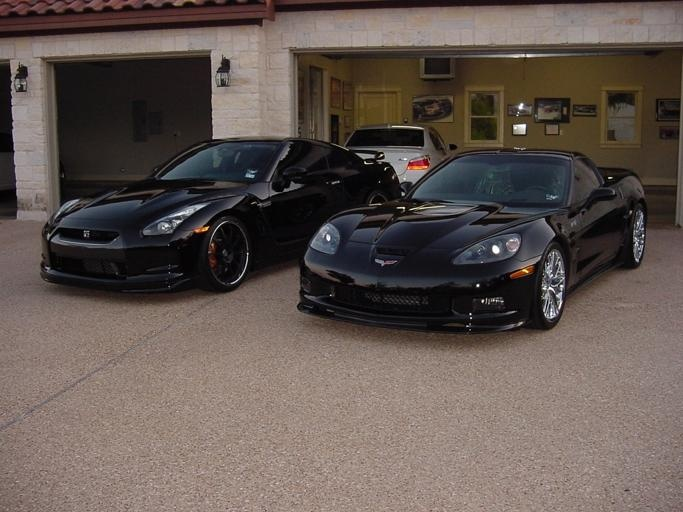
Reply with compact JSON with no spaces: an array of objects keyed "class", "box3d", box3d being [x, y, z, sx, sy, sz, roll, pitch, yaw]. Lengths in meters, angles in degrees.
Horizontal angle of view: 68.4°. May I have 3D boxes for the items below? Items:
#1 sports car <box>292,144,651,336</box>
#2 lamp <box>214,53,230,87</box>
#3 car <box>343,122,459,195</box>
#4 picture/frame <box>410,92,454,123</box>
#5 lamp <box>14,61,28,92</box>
[{"class":"sports car","box3d":[1.548,-0.207,4.866,1.665,0.888,3.233,3,7,36]},{"class":"lamp","box3d":[-2.396,-3.693,9.962,0.318,0.622,0.229,-1,10,0]},{"class":"car","box3d":[1.276,-2.105,10.552,1.434,0.884,2.905,2,13,14]},{"class":"picture/frame","box3d":[3.546,-5.868,19.578,1.386,0.807,0.028,0,7,6]},{"class":"lamp","box3d":[-7.028,-3.901,10.933,0.329,0.637,0.234,5,12,30]}]
